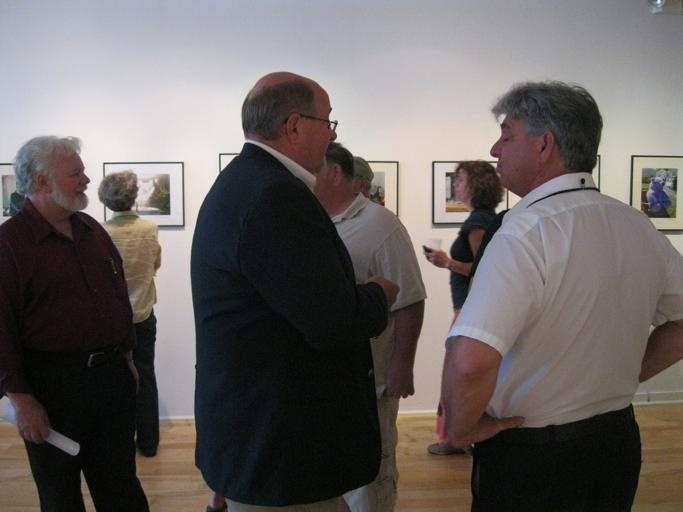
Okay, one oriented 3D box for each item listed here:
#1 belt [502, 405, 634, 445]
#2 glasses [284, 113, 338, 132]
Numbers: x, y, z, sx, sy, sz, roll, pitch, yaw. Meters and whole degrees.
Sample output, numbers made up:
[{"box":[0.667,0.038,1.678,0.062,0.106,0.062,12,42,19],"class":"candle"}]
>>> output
[{"box":[0.881,0.659,2.365,0.217,0.063,0.247,-13,-2,9],"class":"belt"},{"box":[-0.137,-0.540,2.474,0.155,0.054,0.159,-3,8,-17],"class":"glasses"}]
